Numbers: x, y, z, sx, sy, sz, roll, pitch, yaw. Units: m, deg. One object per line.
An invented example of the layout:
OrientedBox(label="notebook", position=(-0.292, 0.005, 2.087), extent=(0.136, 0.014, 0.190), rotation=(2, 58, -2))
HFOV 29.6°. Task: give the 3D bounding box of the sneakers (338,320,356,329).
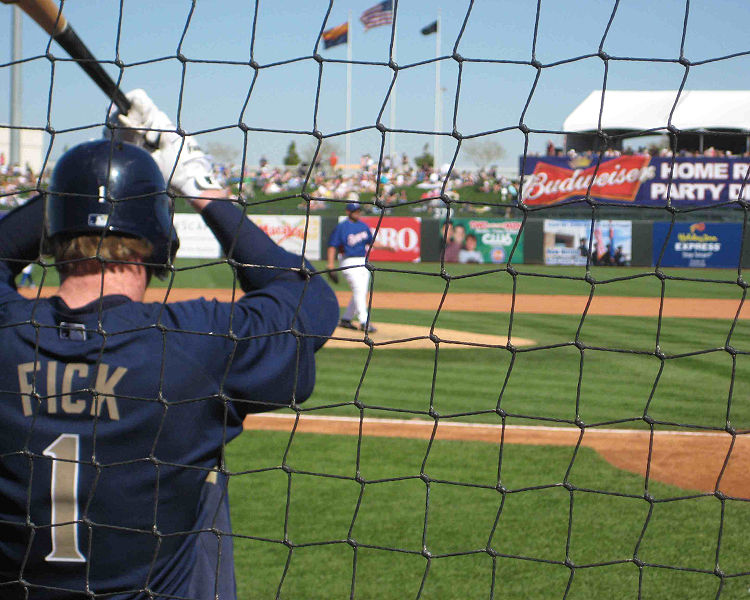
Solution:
OrientedBox(label="sneakers", position=(-0.336, 0.290, 16.184), extent=(0.259, 0.100, 0.083), rotation=(5, 18, 4))
